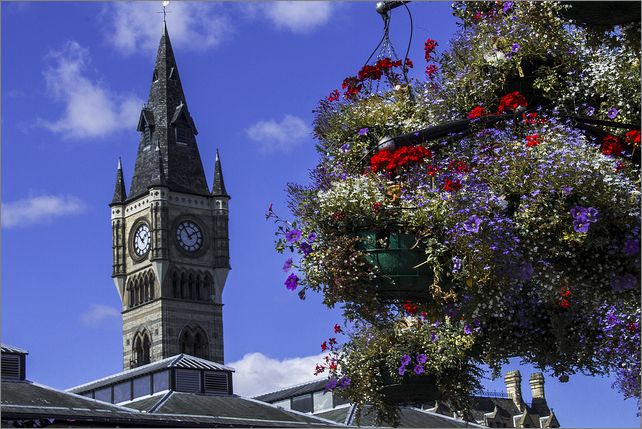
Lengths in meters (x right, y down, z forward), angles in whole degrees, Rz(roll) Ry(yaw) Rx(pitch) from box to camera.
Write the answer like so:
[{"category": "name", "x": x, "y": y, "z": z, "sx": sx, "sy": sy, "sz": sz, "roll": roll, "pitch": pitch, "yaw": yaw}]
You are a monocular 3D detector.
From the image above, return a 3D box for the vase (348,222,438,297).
[{"category": "vase", "x": 0.776, "y": 0.474, "z": 10.921, "sx": 0.688, "sy": 0.433, "sz": 0.695, "roll": 0, "pitch": -22, "yaw": 0}]

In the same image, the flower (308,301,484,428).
[{"category": "flower", "x": 0.910, "y": 1.941, "z": 12.673, "sx": 1.047, "sy": 0.768, "sz": 1.424, "roll": 24, "pitch": -39, "yaw": -38}]

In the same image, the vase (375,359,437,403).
[{"category": "vase", "x": 1.039, "y": 1.973, "z": 12.498, "sx": 0.683, "sy": 0.435, "sz": 0.637, "roll": -4, "pitch": -30, "yaw": 3}]

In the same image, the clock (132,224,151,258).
[{"category": "clock", "x": -12.053, "y": 1.721, "z": 71.523, "sx": 2.374, "sy": 2.164, "sz": 0.095, "roll": -4, "pitch": 4, "yaw": -39}]
